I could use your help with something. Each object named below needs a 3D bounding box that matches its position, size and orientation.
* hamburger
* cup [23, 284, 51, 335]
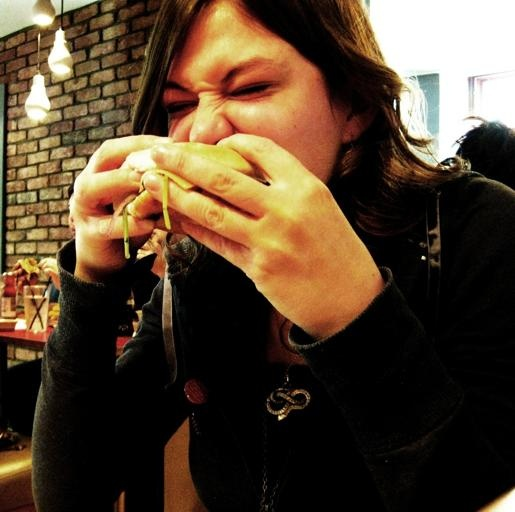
[{"bbox_3d":[-0.142,-0.106,1.076,0.202,0.102,0.268,-9,-4,37],"label":"hamburger"},{"bbox_3d":[-1.176,0.290,2.964,0.141,0.251,0.150,-7,-7,-1],"label":"cup"}]
